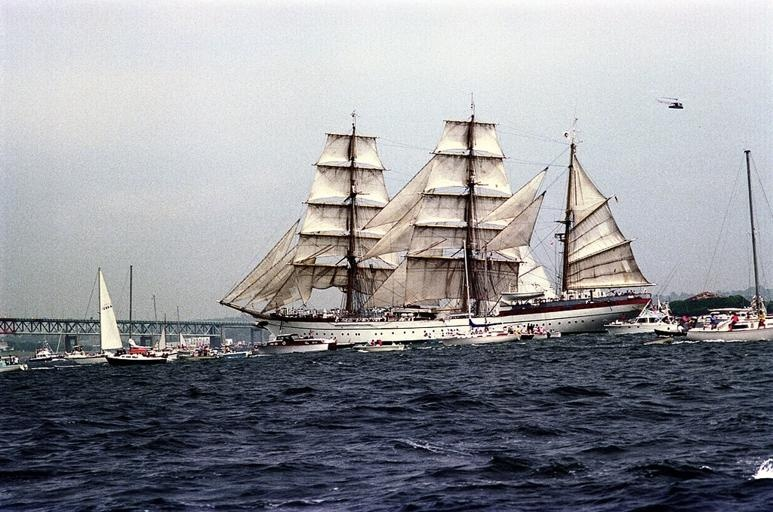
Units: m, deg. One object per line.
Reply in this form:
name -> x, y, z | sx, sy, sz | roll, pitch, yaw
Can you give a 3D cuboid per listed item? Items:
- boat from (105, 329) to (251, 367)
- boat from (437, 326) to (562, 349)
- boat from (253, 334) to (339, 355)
boat -> -27.923, 11.990, 116.784 | 8.578, 3.903, 26.164 | -3, 0, -2
boat -> 13.736, 10.153, 117.194 | 9.785, 1.284, 2.175 | 0, -11, -13
boat -> -11.256, 11.446, 121.153 | 10.849, 2.671, 3.405 | 0, -7, 4
